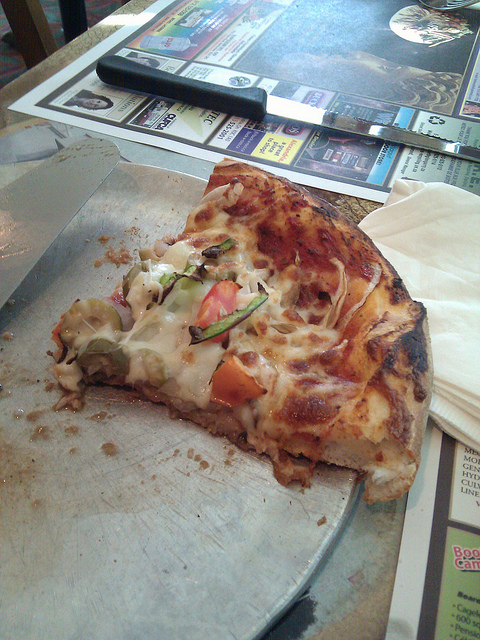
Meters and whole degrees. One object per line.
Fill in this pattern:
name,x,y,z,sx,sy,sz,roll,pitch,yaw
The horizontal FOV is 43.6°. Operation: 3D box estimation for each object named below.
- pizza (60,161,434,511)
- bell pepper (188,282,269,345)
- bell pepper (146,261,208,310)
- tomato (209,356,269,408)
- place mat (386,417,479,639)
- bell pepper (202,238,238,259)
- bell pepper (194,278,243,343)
pizza,0.042,-0.032,0.993,0.581,0.216,0.508,14,43,16
bell pepper,-0.013,-0.021,0.943,0.164,0.045,0.048,-30,31,-29
bell pepper,-0.108,-0.068,0.980,0.064,0.027,0.095,11,43,20
tomato,0.001,0.087,0.869,0.083,0.027,0.072,11,69,5
place mat,0.290,0.288,0.847,0.113,0.046,0.341,12,42,14
bell pepper,-0.033,-0.121,1.023,0.028,0.015,0.051,38,44,23
bell pepper,-0.031,-0.015,0.968,0.059,0.024,0.101,32,60,4
